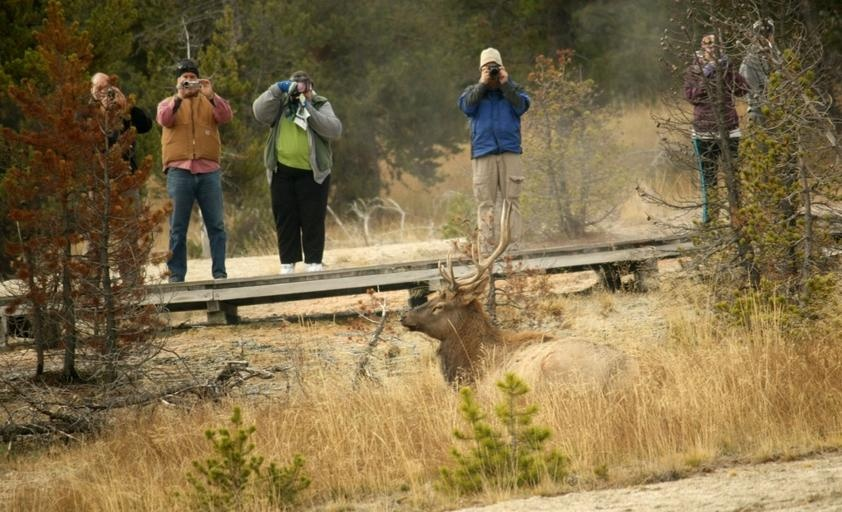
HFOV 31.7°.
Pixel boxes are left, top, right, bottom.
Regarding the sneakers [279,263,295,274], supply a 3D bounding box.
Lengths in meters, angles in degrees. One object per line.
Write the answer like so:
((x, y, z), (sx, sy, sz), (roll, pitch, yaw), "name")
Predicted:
((-2.394, 0.241, 26.569), (0.236, 0.195, 0.127), (6, -4, -40), "sneakers")

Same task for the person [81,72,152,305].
((-4.860, -1.445, 24.604), (0.470, 1.617, 0.406), (-4, -1, 39), "person")

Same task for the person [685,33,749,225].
((5.044, -2.308, 25.268), (0.813, 3.515, 1.045), (-1, 3, 5), "person")

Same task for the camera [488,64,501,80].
((1.289, -3.223, 25.978), (0.188, 0.262, 0.197), (-11, -11, 35), "camera")

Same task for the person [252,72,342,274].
((-2.177, -1.472, 26.345), (1.312, 3.457, 0.910), (-3, -8, -5), "person")

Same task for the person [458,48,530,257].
((1.372, -1.787, 26.167), (0.988, 3.732, 1.064), (-3, 0, 7), "person")
